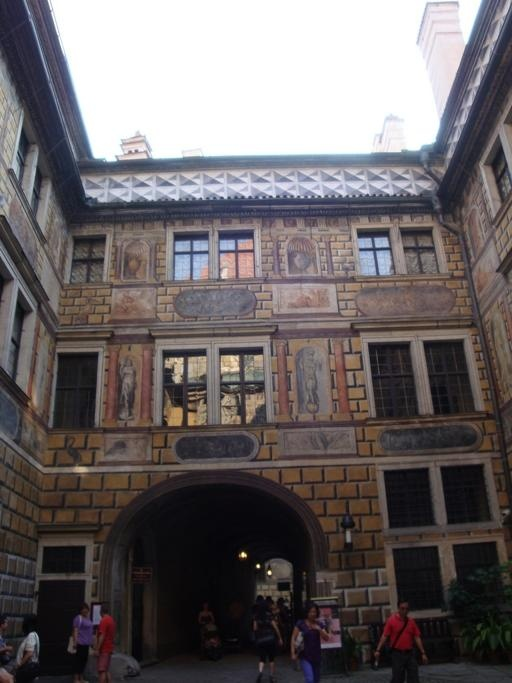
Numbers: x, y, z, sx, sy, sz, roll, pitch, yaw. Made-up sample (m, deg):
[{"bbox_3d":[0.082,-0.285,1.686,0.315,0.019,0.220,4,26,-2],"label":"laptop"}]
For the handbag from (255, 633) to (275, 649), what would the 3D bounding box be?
[{"bbox_3d":[0.105,3.453,5.715,0.217,0.250,0.311,-3,-27,-1],"label":"handbag"}]

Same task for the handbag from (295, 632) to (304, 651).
[{"bbox_3d":[0.368,2.556,4.222,0.067,0.168,0.131,3,-28,-7],"label":"handbag"}]

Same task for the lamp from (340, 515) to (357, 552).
[{"bbox_3d":[1.648,3.394,8.884,0.274,0.635,0.463,-8,-28,8],"label":"lamp"}]
